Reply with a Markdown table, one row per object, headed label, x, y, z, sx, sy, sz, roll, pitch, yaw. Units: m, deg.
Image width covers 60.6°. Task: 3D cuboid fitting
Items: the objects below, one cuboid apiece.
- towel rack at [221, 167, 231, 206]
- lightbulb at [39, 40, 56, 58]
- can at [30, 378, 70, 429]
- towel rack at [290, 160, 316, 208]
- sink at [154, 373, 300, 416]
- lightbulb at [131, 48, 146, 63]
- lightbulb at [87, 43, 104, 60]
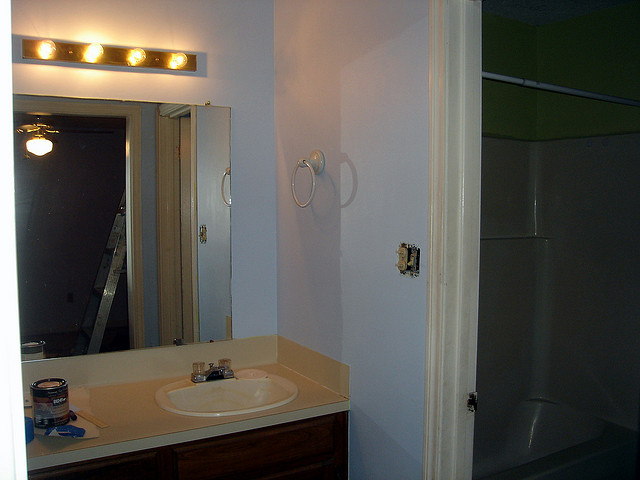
| label | x | y | z | sx | sy | sz | roll | pitch | yaw |
| --- | --- | --- | --- | --- | --- | --- | --- | --- | --- |
| towel rack | -0.481 | -0.273 | 2.785 | 0.044 | 0.187 | 0.047 | -1 | 13 | -9 |
| lightbulb | -1.223 | -0.858 | 2.453 | 0.059 | 0.077 | 0.026 | 2 | -1 | -12 |
| can | -1.083 | 0.632 | 2.221 | 0.126 | 0.186 | 0.138 | 2 | 6 | 0 |
| towel rack | -0.083 | -0.260 | 2.550 | 0.022 | 0.226 | 0.185 | -1 | 4 | -37 |
| sink | -0.454 | 0.680 | 2.544 | 0.580 | 0.163 | 0.464 | -1 | 3 | -21 |
| lightbulb | -0.859 | -0.874 | 2.596 | 0.070 | 0.063 | 0.035 | -6 | 15 | -29 |
| lightbulb | -1.036 | -0.867 | 2.519 | 0.064 | 0.074 | 0.045 | 3 | 3 | -13 |
